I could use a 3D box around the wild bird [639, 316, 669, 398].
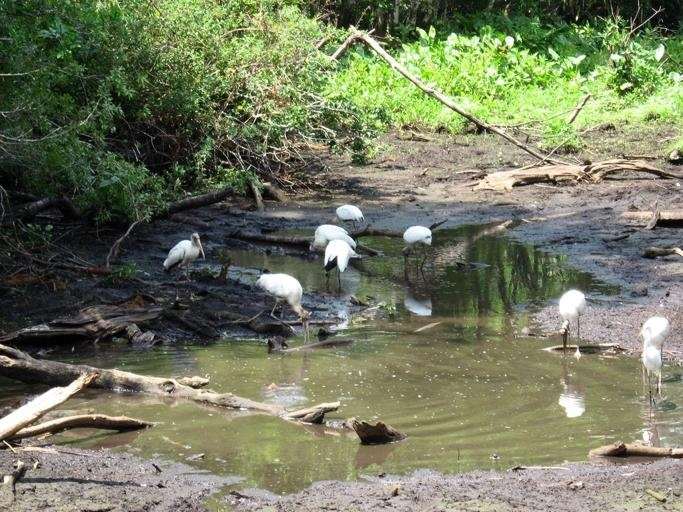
[{"bbox_3d":[3.836,1.279,10.013,0.370,0.928,0.758,1,-6,28],"label":"wild bird"}]
